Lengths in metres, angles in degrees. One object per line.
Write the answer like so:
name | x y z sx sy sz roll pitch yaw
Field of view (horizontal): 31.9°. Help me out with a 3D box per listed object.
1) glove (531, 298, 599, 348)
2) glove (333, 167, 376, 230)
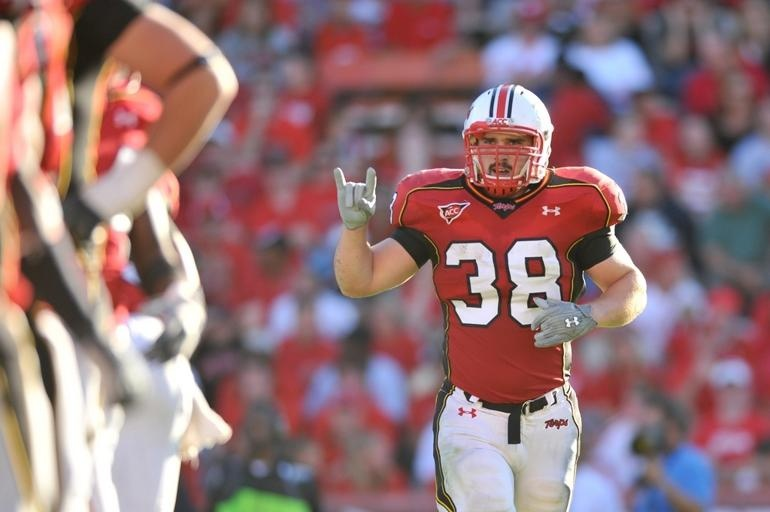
glove | 0.964 0.372 7.315 0.348 0.254 0.154 4 -7 5
glove | -0.177 -0.308 7.375 0.235 0.367 0.200 11 30 13
